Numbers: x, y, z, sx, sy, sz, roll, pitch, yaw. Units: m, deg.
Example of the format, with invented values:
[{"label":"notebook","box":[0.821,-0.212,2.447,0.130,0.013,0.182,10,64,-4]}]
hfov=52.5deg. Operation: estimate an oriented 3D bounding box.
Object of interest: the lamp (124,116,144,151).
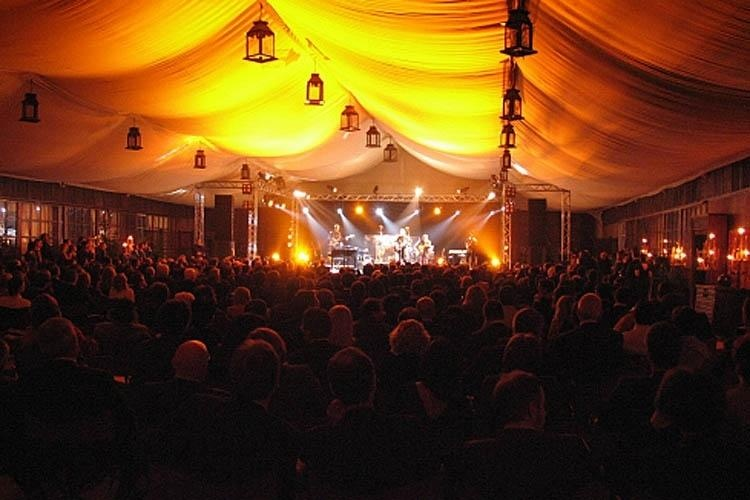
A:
[{"label":"lamp","box":[-5.594,-2.653,17.698,0.313,0.793,1.354,3,-3,-18]}]

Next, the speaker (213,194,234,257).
[{"label":"speaker","box":[-5.418,-0.895,26.751,0.730,2.084,0.595,1,-1,44]}]

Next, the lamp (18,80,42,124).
[{"label":"lamp","box":[-6.452,-2.796,14.245,0.369,0.773,0.342,1,7,-41]}]
